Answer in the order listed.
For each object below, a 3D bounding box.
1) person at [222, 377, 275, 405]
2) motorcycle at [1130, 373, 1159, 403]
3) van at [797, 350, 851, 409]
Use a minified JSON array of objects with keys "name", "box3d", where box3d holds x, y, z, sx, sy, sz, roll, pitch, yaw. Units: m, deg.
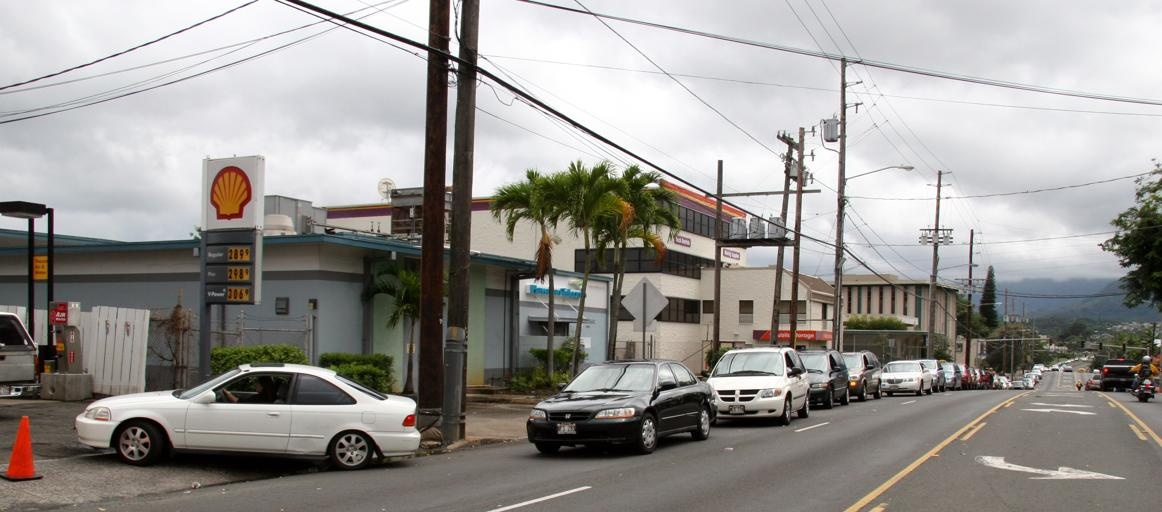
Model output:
[{"name":"person","box3d":[-12.627,5.183,35.350,1.685,0.933,1.091,6,-6,2]},{"name":"motorcycle","box3d":[35.095,8.264,56.668,1.639,1.601,3.170,3,-5,21]},{"name":"van","box3d":[13.380,6.583,49.922,3.112,2.431,8.223,-2,-4,26]}]
